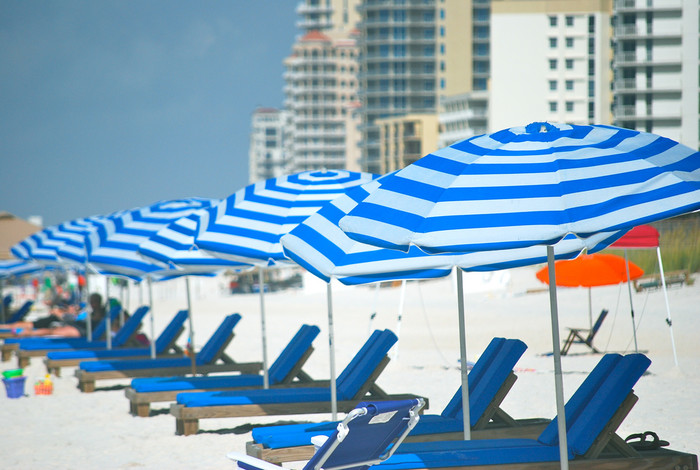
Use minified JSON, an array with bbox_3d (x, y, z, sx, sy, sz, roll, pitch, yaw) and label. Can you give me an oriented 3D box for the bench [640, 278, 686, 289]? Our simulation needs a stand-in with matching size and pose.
[{"bbox_3d":[40.763,6.194,217.271,5.958,1.183,1.483,-8,37,4],"label":"bench"}]
